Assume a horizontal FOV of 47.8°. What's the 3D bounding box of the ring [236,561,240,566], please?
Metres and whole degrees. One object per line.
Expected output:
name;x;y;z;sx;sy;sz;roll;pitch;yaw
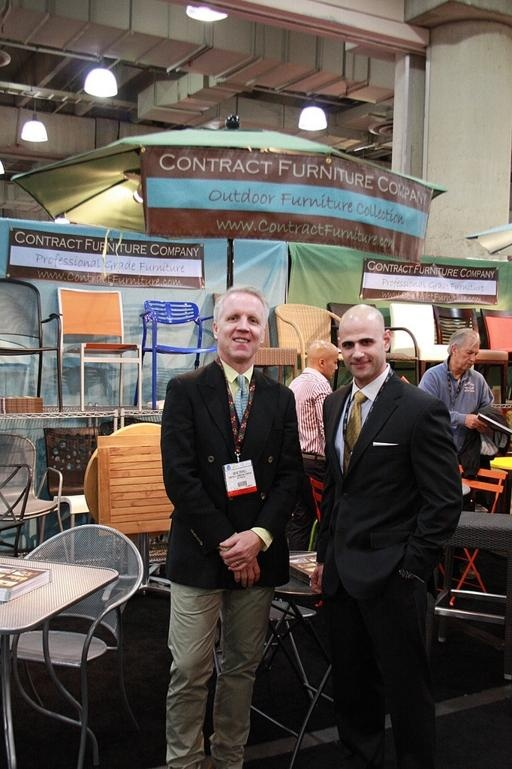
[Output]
ring;-0.051;0.497;1.620;0.010;0.010;0.010;0;-1;0

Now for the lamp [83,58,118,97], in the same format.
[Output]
lamp;-2.051;-4.021;7.670;0.362;0.450;0.346;-1;2;-6

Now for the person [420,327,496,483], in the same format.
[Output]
person;1.638;0.335;4.644;0.591;1.423;0.487;-2;15;6

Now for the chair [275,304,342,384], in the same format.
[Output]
chair;0.496;-0.536;6.355;0.697;1.003;0.740;0;0;-25

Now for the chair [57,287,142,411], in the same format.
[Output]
chair;-1.510;-0.376;5.649;0.773;1.166;0.814;-2;2;-19

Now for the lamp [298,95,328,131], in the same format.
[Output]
lamp;0.843;-4.052;8.798;0.389;0.462;0.331;-1;2;9
